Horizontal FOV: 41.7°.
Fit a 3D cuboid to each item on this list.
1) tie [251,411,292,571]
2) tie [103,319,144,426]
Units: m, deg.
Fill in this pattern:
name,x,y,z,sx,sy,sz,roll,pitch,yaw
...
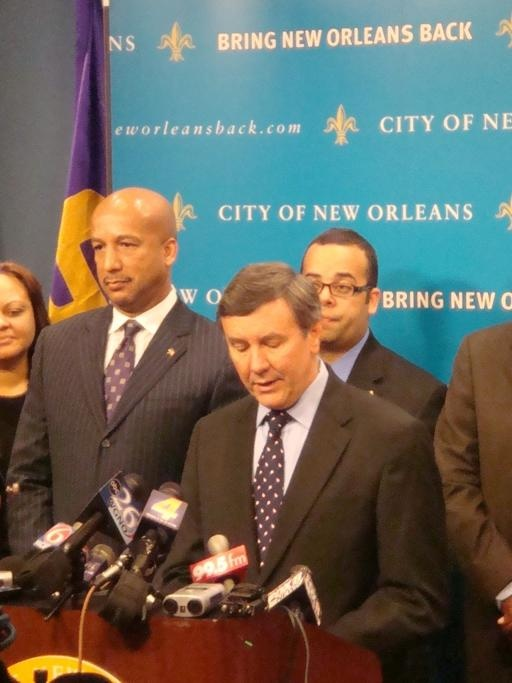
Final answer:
name,x,y,z,sx,sy,sz,roll,pitch,yaw
tie,0.044,0.403,1.870,0.071,0.054,0.418,2,43,11
tie,-0.549,0.117,2.719,0.110,0.386,0.035,7,-23,22
